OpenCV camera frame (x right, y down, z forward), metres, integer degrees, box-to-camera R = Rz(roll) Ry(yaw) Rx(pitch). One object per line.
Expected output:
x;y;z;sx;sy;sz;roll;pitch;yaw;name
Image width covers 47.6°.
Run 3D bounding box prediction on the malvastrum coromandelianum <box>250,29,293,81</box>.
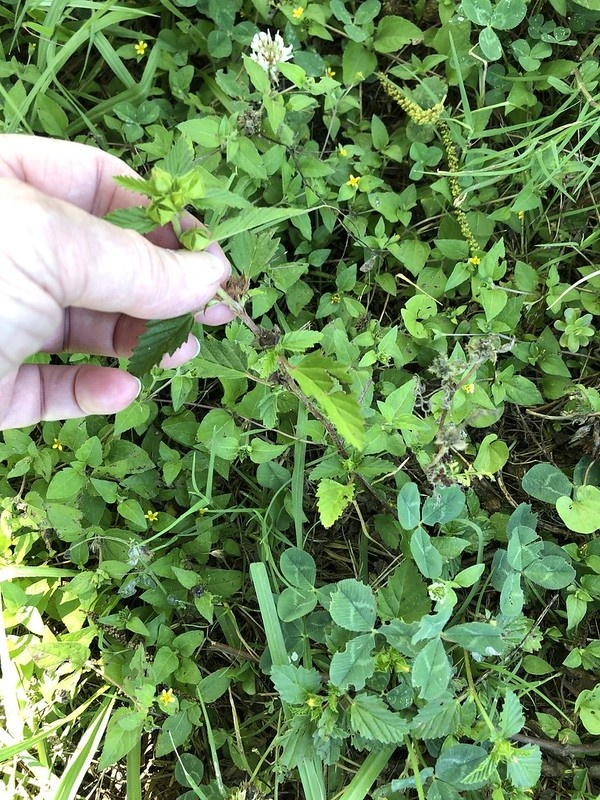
-0.137;-1.305;2.579;0.156;0.150;0.141;-2;63;-4;malvastrum coromandelianum
